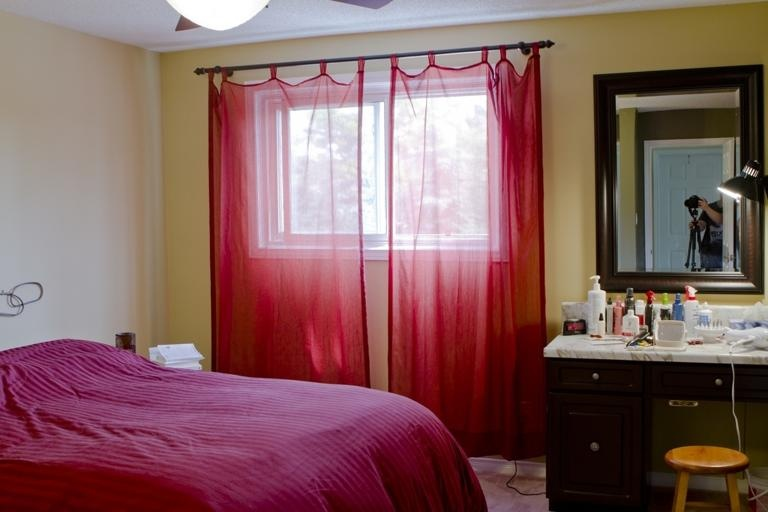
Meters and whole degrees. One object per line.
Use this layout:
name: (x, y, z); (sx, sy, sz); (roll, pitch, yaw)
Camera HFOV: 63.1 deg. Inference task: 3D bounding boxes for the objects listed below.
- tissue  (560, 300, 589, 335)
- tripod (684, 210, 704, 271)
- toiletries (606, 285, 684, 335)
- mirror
tissue : (1.226, 0.407, 4.030); (0.188, 0.198, 0.150); (-6, -5, 23)
tripod: (1.991, -0.122, 4.014); (0.103, 0.412, 0.107); (2, 23, 31)
toiletries: (1.568, 0.345, 3.862); (0.491, 0.528, 0.168); (0, -2, 13)
mirror: (1.944, -0.494, 4.023); (0.965, 1.526, 0.096); (-1, 0, 4)
